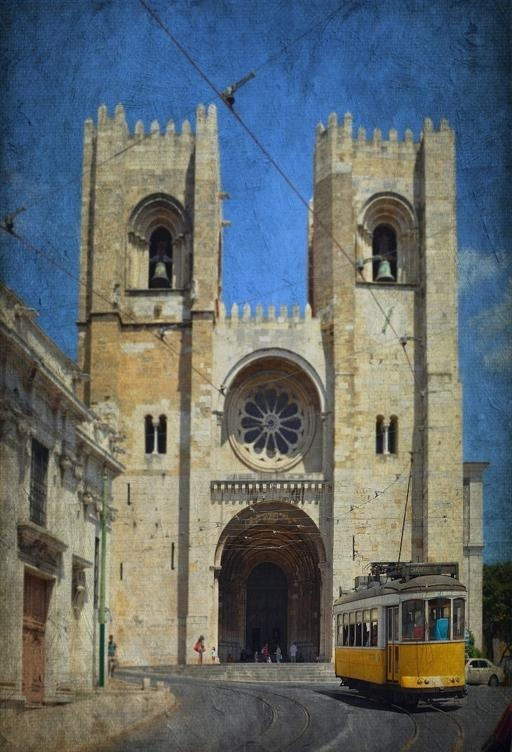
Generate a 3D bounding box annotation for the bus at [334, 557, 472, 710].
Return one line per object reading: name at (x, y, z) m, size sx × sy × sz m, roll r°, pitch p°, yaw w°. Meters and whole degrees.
bus at (3.392, 6.485, 48.341) m, size 1.313 × 3.121 × 5.898 m, roll 3°, pitch -17°, yaw -8°
